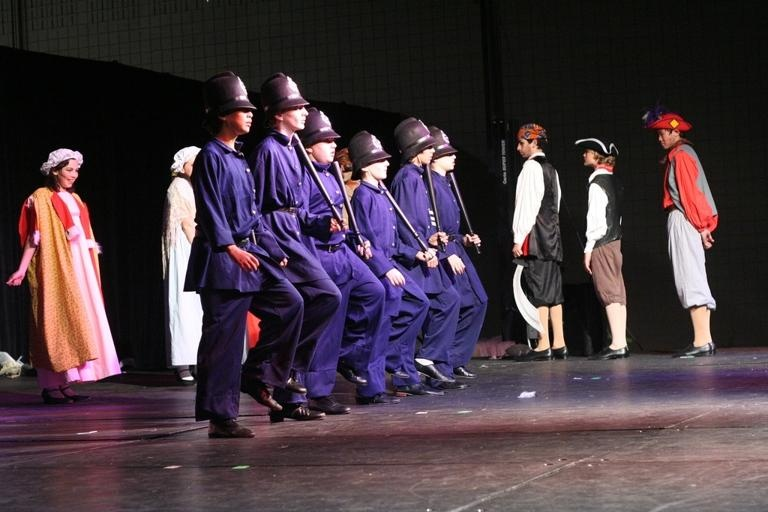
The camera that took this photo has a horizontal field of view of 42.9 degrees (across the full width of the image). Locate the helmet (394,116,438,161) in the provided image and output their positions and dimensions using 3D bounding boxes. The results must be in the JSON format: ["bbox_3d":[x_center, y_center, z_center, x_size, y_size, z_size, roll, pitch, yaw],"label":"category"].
[{"bbox_3d":[0.235,-0.859,7.369,0.352,0.205,0.306,-32,11,-1],"label":"helmet"}]

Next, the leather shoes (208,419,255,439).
[{"bbox_3d":[-0.836,0.945,5.362,0.292,0.090,0.094,-1,-6,3],"label":"leather shoes"}]

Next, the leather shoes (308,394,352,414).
[{"bbox_3d":[-0.344,0.926,6.104,0.296,0.089,0.095,1,-3,9],"label":"leather shoes"}]

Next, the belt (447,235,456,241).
[{"bbox_3d":[0.519,-0.131,7.433,0.060,0.029,0.015,4,-12,-34],"label":"belt"}]

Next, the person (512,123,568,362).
[{"bbox_3d":[1.503,-0.144,9.648,0.454,2.286,0.445,-5,-1,18],"label":"person"}]

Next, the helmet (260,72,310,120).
[{"bbox_3d":[-0.625,-0.966,5.935,0.326,0.164,0.263,-8,11,13],"label":"helmet"}]

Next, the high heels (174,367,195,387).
[{"bbox_3d":[-1.647,1.013,8.201,0.132,0.155,0.195,-25,-21,33],"label":"high heels"}]

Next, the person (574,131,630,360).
[{"bbox_3d":[2.133,-0.098,9.478,0.402,2.131,0.648,-5,-1,13],"label":"person"}]

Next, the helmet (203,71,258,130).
[{"bbox_3d":[-0.886,-0.891,5.568,0.380,0.205,0.315,-13,7,16],"label":"helmet"}]

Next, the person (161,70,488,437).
[{"bbox_3d":[-0.718,-0.058,5.650,0.476,1.912,0.879,-6,-1,34],"label":"person"}]

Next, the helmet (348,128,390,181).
[{"bbox_3d":[-0.118,-0.716,6.879,0.367,0.205,0.315,-21,12,17],"label":"helmet"}]

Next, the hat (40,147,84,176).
[{"bbox_3d":[-2.415,-0.716,7.315,0.296,0.089,0.264,-21,-3,1],"label":"hat"}]

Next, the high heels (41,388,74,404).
[{"bbox_3d":[-2.370,1.020,7.078,0.210,0.071,0.094,-2,-3,7],"label":"high heels"}]

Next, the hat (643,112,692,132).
[{"bbox_3d":[2.724,-1.283,9.400,0.358,0.117,0.247,4,7,13],"label":"hat"}]

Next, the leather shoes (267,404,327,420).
[{"bbox_3d":[-0.521,0.932,5.894,0.356,0.119,0.113,-3,1,-2],"label":"leather shoes"}]

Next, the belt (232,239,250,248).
[{"bbox_3d":[-0.790,-0.068,5.427,0.052,0.041,0.059,-13,-15,-35],"label":"belt"}]

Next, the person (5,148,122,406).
[{"bbox_3d":[-2.399,0.133,7.252,0.724,1.659,0.434,-4,-1,-21],"label":"person"}]

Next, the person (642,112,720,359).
[{"bbox_3d":[2.863,-0.248,9.182,0.515,2.350,0.718,-5,-1,14],"label":"person"}]

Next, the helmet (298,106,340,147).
[{"bbox_3d":[-0.425,-0.852,6.393,0.304,0.167,0.257,-15,8,18],"label":"helmet"}]
